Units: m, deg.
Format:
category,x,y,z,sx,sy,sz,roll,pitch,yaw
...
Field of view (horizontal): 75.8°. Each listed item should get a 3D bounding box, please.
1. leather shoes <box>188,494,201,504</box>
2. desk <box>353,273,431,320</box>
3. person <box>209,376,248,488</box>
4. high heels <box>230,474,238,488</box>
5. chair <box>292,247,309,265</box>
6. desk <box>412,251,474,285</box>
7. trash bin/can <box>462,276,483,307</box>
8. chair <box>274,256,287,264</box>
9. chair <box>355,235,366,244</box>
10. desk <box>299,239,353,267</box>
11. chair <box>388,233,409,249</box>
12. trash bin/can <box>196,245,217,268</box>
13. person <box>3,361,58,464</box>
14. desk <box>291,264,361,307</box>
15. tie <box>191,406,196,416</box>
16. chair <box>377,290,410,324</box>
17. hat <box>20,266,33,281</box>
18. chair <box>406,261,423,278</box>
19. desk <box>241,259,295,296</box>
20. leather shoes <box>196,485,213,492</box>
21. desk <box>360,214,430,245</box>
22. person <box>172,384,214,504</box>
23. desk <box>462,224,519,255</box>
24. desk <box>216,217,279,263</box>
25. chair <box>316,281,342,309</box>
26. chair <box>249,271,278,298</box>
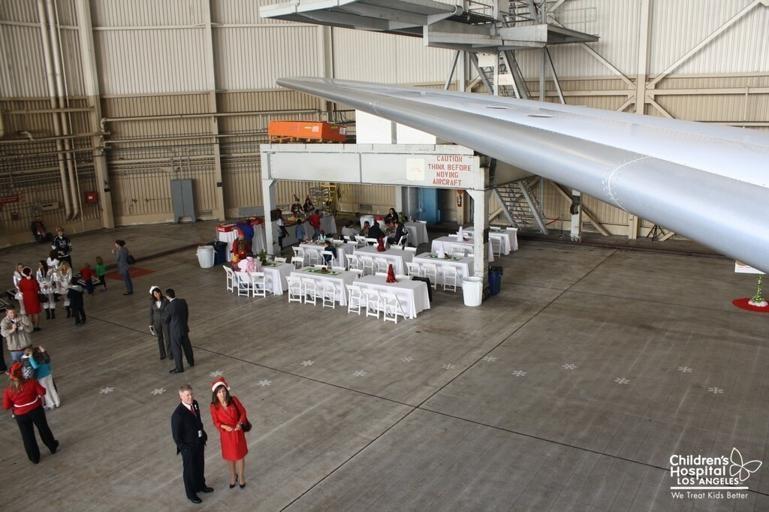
category,x,y,z,sx,sy,sz,roll,pitch,yaw
leather shoes,-3.141,4.015,8.194,0.257,0.093,0.091,5,7,37
desk,0.565,1.076,15.059,1.945,0.654,1.287,9,21,34
person,-2.569,2.944,8.360,0.528,2.038,0.615,-11,14,-21
high heels,-2.597,3.882,8.506,0.089,0.096,0.252,5,-4,6
chair,-3.316,0.008,19.672,0.514,0.670,0.508,7,33,10
desk,1.997,0.500,17.093,1.610,0.723,1.143,8,19,34
trash bin/can,2.756,1.142,15.406,0.891,0.801,0.850,-2,7,0
chair,-3.953,0.147,18.645,0.327,0.398,0.282,-3,8,-19
chair,-1.026,-0.652,20.923,0.463,0.555,0.424,-1,5,-4
desk,-2.215,-0.143,19.832,1.665,0.757,1.181,8,22,27
chair,0.543,-0.535,20.219,0.753,0.902,0.601,7,20,16
trash bin/can,-7.328,0.045,20.355,0.693,0.884,0.437,-9,13,-16
person,-6.779,2.914,9.381,0.647,1.844,0.813,-15,16,-36
desk,-2.124,1.000,16.083,1.999,0.836,1.391,6,16,29
tie,-3.128,2.504,8.066,0.018,0.117,0.058,0,14,21
chair,0.217,1.517,14.850,0.823,1.157,0.941,6,20,32
hat,-11.073,0.543,15.232,0.327,0.385,0.132,3,-11,-8
chair,1.062,0.453,17.675,0.484,0.656,0.540,8,21,33
desk,-4.011,0.789,17.046,1.413,0.676,1.386,4,14,24
leather shoes,-3.074,3.929,8.467,0.263,0.166,0.089,0,23,-5
desk,1.120,-1.052,22.814,1.963,0.772,1.924,7,27,28
person,-3.202,3.061,8.174,0.386,2.002,0.508,6,17,40
desk,4.896,-0.671,20.854,1.648,0.628,1.642,4,12,33
desk,-5.644,-0.602,20.499,2.017,1.303,1.085,-7,16,-23
chair,-1.780,1.237,15.950,0.601,0.956,0.753,5,29,18
chair,-4.226,0.935,17.119,0.827,1.222,0.877,0,28,3
